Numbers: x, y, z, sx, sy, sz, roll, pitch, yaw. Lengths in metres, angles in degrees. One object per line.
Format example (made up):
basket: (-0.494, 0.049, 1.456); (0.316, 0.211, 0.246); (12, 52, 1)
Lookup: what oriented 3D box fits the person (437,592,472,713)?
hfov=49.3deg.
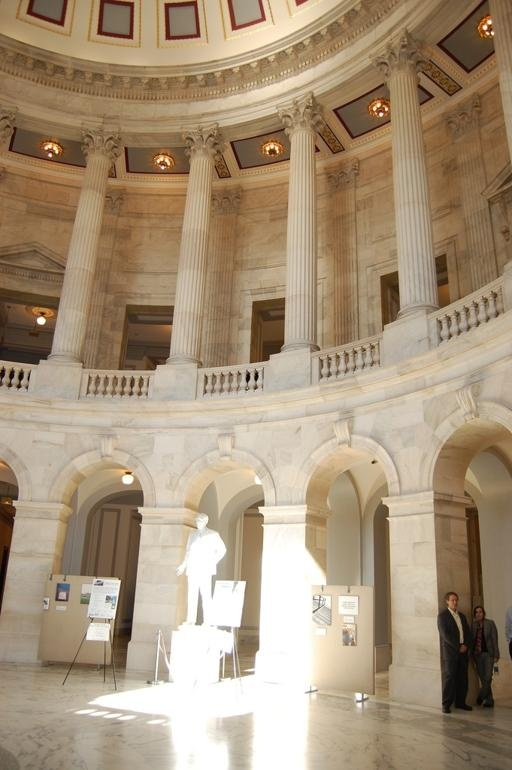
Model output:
person: (2.478, 3.379, 7.081); (0.332, 1.349, 0.794); (-10, -22, 37)

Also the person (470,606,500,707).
person: (3.058, 3.629, 7.454); (0.326, 1.219, 0.408); (-3, -19, 21)
